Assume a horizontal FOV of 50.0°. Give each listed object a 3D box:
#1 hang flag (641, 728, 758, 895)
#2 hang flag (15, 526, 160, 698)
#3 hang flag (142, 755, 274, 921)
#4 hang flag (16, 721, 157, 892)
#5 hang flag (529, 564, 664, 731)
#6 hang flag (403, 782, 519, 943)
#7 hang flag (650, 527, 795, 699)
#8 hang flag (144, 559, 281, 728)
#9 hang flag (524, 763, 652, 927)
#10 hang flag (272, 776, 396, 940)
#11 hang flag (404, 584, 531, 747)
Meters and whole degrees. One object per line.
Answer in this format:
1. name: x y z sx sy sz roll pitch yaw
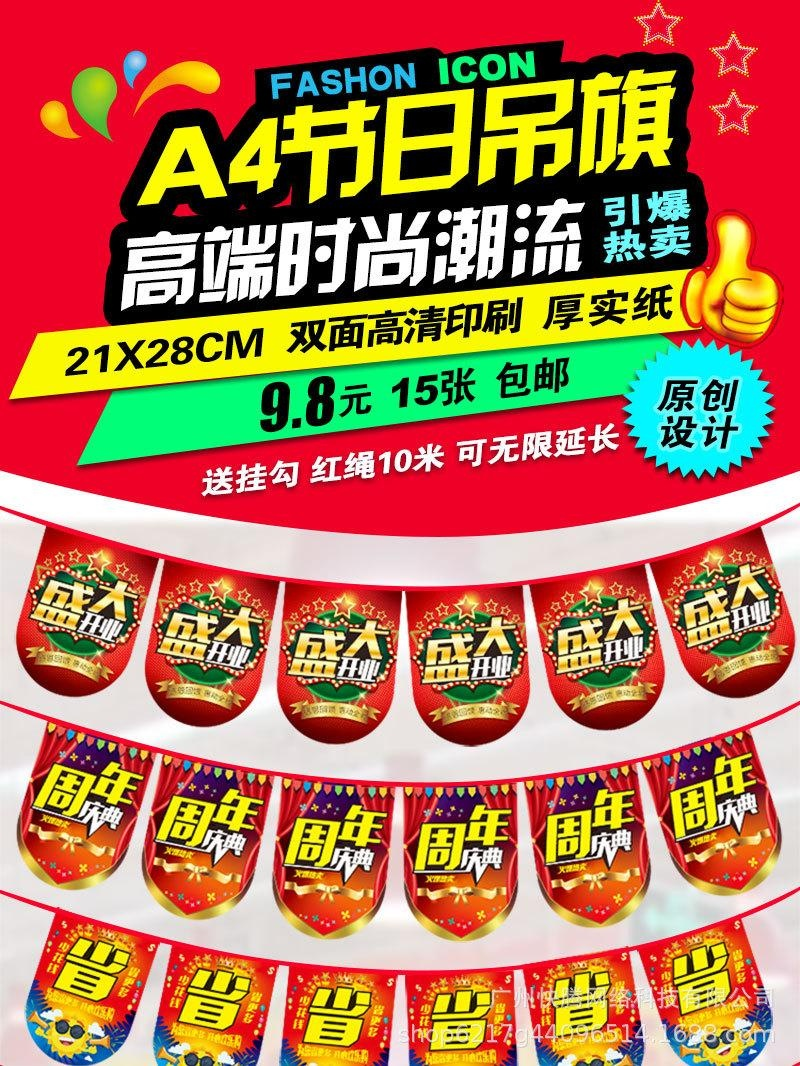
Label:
1. hang flag: 0.716 0.687 2.080 0.306 0.399 0.040 -17 -3 -9
2. hang flag: -0.757 0.190 2.035 0.267 0.270 0.279 17 -49 -13
3. hang flag: -0.462 0.717 2.021 0.260 0.254 0.262 11 -48 -8
4. hang flag: -0.748 0.659 2.021 0.282 0.371 0.050 21 -9 -6
5. hang flag: 0.461 0.282 2.073 0.327 0.436 0.021 -12 -2 -13
6. hang flag: 0.145 0.774 2.033 0.261 0.256 0.253 -1 -47 4
7. hang flag: 0.807 0.201 2.156 0.318 0.424 0.099 -18 0 -2
8. hang flag: -0.457 0.266 2.036 0.271 0.266 0.265 12 -48 -8
9. hang flag: 0.436 0.751 2.051 0.355 0.444 0.020 -7 -7 -11
10. hang flag: -0.161 0.768 2.022 0.263 0.251 0.251 6 -47 -2
11. hang flag: 0.165 0.314 2.052 0.272 0.267 0.269 -3 -48 6
